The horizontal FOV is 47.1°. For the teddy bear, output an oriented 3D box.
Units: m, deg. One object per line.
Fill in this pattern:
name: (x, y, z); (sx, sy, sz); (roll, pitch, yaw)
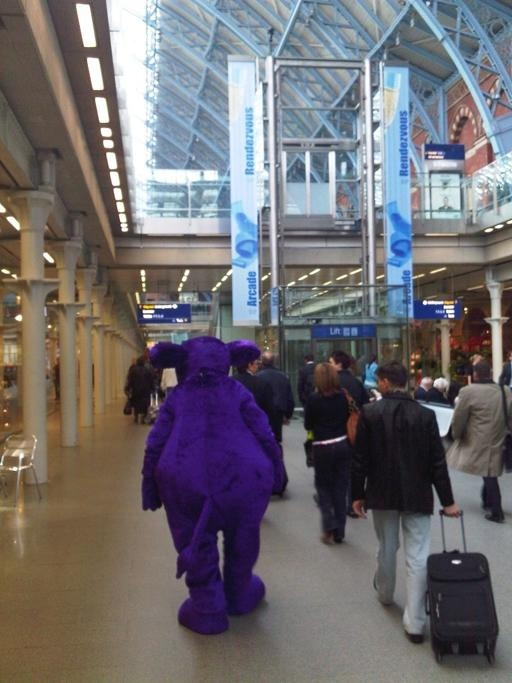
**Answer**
teddy bear: (-0.232, 0.798, 3.276); (0.783, 1.650, 0.538); (1, -4, -26)

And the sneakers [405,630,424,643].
sneakers: (0.843, 1.564, 3.125); (0.101, 0.050, 0.095); (-2, -4, 15)

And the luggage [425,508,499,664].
luggage: (1.012, 1.190, 3.074); (0.279, 0.289, 0.794); (-1, 42, 4)
